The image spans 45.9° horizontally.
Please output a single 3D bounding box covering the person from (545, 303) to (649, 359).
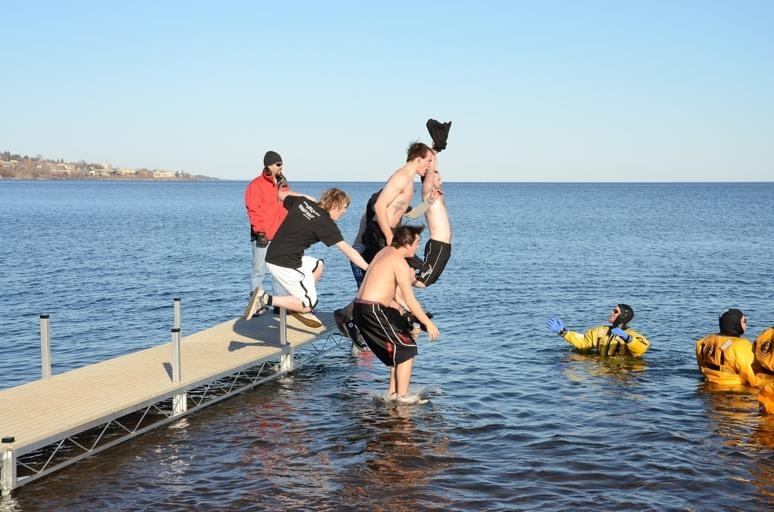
[{"bbox_3d":[5.888,2.159,25.592,2.209,0.870,1.299,-33,17,-15],"label":"person"}]

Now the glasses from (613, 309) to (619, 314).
[{"bbox_3d":[5.951,1.434,23.637,0.147,0.113,0.169,-8,12,-28],"label":"glasses"}]

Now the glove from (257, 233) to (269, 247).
[{"bbox_3d":[-3.093,-0.365,22.463,0.317,0.308,0.134,0,9,3],"label":"glove"}]

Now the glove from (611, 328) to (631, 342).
[{"bbox_3d":[5.993,2.054,23.481,0.255,0.322,0.505,-5,9,-41],"label":"glove"}]

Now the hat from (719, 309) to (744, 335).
[{"bbox_3d":[7.942,1.563,21.055,0.518,0.668,0.450,5,8,24],"label":"hat"}]

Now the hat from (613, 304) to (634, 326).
[{"bbox_3d":[6.127,1.577,23.699,0.473,0.577,0.404,2,8,6],"label":"hat"}]
